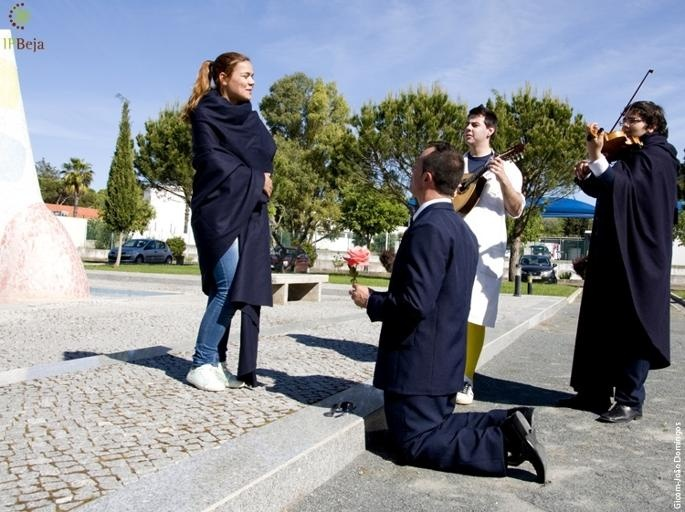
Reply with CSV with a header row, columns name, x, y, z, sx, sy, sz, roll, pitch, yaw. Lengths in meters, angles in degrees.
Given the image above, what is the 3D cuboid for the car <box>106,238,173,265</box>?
name,x,y,z,sx,sy,sz,roll,pitch,yaw
car,-14.113,-0.207,32.986,1.807,1.356,3.023,-2,-6,35

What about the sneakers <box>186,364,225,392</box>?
name,x,y,z,sx,sy,sz,roll,pitch,yaw
sneakers,-1.026,0.883,3.519,0.270,0.129,0.165,8,7,35

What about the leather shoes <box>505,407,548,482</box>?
name,x,y,z,sx,sy,sz,roll,pitch,yaw
leather shoes,0.965,0.977,2.515,0.184,0.517,0.167,-12,17,15

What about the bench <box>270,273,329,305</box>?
name,x,y,z,sx,sy,sz,roll,pitch,yaw
bench,-0.936,0.731,10.494,1.110,0.669,1.665,2,1,-1

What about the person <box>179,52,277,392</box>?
name,x,y,z,sx,sy,sz,roll,pitch,yaw
person,-0.859,-0.261,3.538,0.678,2.539,0.426,2,1,-16

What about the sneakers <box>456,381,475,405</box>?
name,x,y,z,sx,sy,sz,roll,pitch,yaw
sneakers,1.040,1.175,4.027,0.145,0.199,0.450,-2,-13,20

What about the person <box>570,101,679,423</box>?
name,x,y,z,sx,sy,sz,roll,pitch,yaw
person,2.167,0.030,3.583,0.729,2.293,0.448,2,1,19

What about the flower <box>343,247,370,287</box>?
name,x,y,z,sx,sy,sz,roll,pitch,yaw
flower,0.105,0.080,3.328,0.130,0.265,0.164,1,38,-11

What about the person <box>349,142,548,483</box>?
name,x,y,z,sx,sy,sz,roll,pitch,yaw
person,0.568,0.272,2.730,1.015,1.276,0.445,2,1,11

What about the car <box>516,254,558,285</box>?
name,x,y,z,sx,sy,sz,roll,pitch,yaw
car,11.532,0.828,27.659,1.448,1.113,2.499,2,9,21

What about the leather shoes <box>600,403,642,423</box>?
name,x,y,z,sx,sy,sz,roll,pitch,yaw
leather shoes,2.120,1.190,3.584,0.322,0.147,0.139,2,-10,-20

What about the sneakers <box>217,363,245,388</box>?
name,x,y,z,sx,sy,sz,roll,pitch,yaw
sneakers,-0.823,0.926,3.621,0.299,0.142,0.105,13,6,14
